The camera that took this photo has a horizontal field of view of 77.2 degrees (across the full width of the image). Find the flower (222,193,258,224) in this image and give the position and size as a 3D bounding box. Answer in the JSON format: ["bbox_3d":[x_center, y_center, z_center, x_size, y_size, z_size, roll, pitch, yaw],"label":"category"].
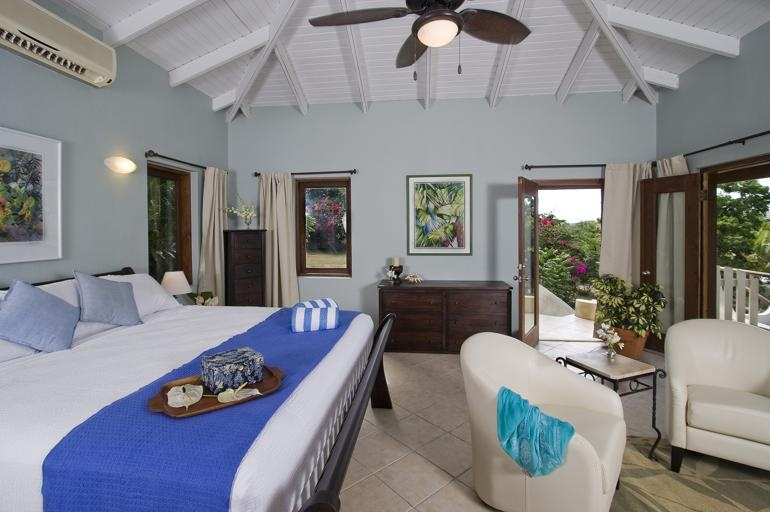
[{"bbox_3d":[-2.151,-0.728,7.293,0.433,0.375,0.454,-2,8,-24],"label":"flower"}]

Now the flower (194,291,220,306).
[{"bbox_3d":[-2.393,0.571,6.401,0.236,0.133,0.248,-17,21,-42],"label":"flower"}]

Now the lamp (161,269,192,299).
[{"bbox_3d":[-2.529,0.321,5.885,0.319,0.318,0.327,9,16,39],"label":"lamp"}]

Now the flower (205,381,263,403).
[{"bbox_3d":[-1.049,0.968,3.471,0.224,0.062,0.142,-2,17,-41],"label":"flower"}]

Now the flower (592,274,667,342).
[{"bbox_3d":[3.220,0.668,6.268,0.851,0.832,0.582,1,-4,42],"label":"flower"}]

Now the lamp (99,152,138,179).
[{"bbox_3d":[-2.997,-1.057,5.572,0.191,0.240,0.429,0,3,23],"label":"lamp"}]

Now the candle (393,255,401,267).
[{"bbox_3d":[0.175,0.077,7.010,0.136,0.157,0.134,-4,6,-31],"label":"candle"}]
